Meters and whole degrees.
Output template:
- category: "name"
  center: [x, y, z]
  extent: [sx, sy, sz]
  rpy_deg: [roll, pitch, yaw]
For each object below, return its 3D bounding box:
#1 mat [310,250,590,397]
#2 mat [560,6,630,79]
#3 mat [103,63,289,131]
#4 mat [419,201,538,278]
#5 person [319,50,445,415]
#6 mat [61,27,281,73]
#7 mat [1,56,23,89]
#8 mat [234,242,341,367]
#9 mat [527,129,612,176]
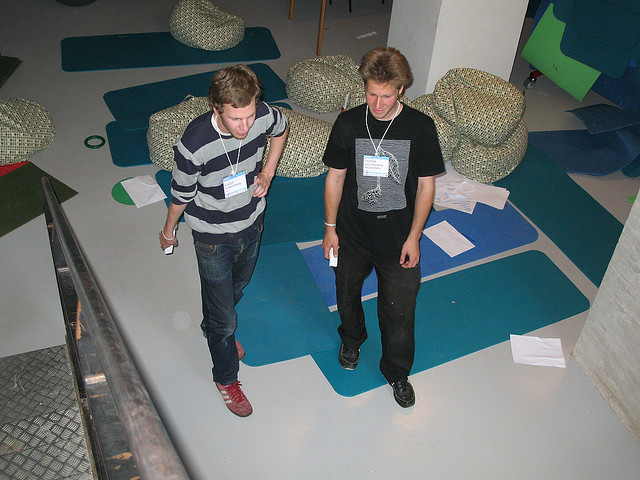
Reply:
- category: "mat"
  center: [1.059, 0.547, 3.202]
  extent: [2.183, 0.144, 0.678]
  rpy_deg: [-12, 43, -17]
- category: "mat"
  center: [2.920, -2.072, 4.411]
  extent: [0.893, 0.046, 0.807]
  rpy_deg: [17, 25, -46]
- category: "mat"
  center: [-1.266, -1.317, 3.828]
  extent: [1.730, 0.018, 0.831]
  rpy_deg: [-15, 50, -21]
- category: "mat"
  center: [1.334, -0.053, 3.783]
  extent: [1.086, 0.023, 0.654]
  rpy_deg: [-13, 48, -10]
- category: "person"
  center: [0.371, 0.017, 2.409]
  extent: [0.853, 1.923, 0.534]
  rpy_deg: [30, 46, 29]
- category: "mat"
  center: [-2.118, -2.762, 5.976]
  extent: [2.958, 0.038, 1.020]
  rpy_deg: [-11, 53, -16]
- category: "mat"
  center: [-3.934, -2.154, 5.252]
  extent: [0.259, 0.099, 0.806]
  rpy_deg: [-10, 43, -16]
- category: "mat"
  center: [-0.307, 0.480, 3.171]
  extent: [0.717, 0.099, 0.943]
  rpy_deg: [-9, 43, -15]
- category: "mat"
  center: [2.824, -0.968, 4.678]
  extent: [0.743, 0.066, 1.166]
  rpy_deg: [6, 37, 3]
